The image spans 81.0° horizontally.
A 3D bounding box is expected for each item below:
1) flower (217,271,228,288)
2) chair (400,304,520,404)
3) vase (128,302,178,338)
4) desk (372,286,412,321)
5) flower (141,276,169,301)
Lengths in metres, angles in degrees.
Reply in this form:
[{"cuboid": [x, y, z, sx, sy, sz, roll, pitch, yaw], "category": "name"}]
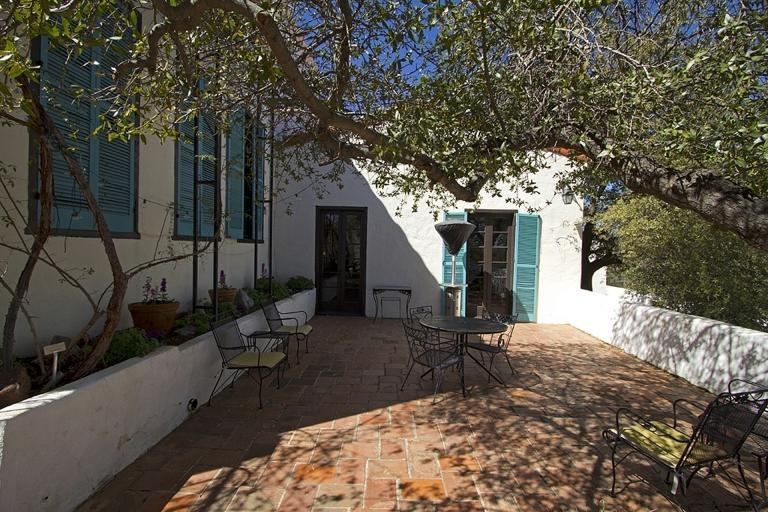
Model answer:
[{"cuboid": [-2.675, 0.388, 7.510, 0.125, 0.374, 0.675, -3, 12, -18], "category": "flower"}, {"cuboid": [0.964, 1.434, 6.528, 1.203, 0.800, 1.117, -1, 5, -7], "category": "chair"}, {"cuboid": [-2.902, 0.806, 5.748, 0.596, 0.420, 0.612, 3, 0, 15], "category": "vase"}, {"cuboid": [0.150, 1.065, 10.300, 0.637, 0.552, 0.276, 9, -7, 25], "category": "desk"}, {"cuboid": [-3.022, 0.441, 5.946, 0.319, 0.323, 0.081, 1, -6, -25], "category": "flower"}]
